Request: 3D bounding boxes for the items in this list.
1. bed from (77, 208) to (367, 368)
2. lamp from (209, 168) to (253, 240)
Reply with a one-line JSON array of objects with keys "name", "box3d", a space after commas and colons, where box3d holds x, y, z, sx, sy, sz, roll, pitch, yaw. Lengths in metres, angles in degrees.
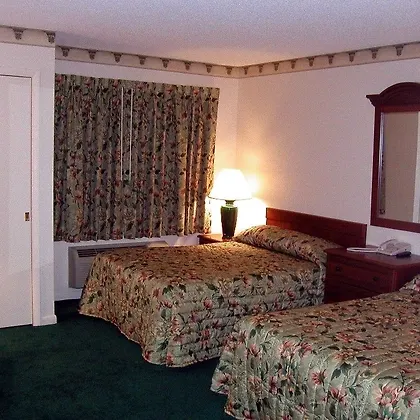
[{"name": "bed", "box3d": [0.219, 0.610, 3.671, 1.873, 0.835, 1.542, -5, 12, -30]}, {"name": "lamp", "box3d": [0.263, -0.076, 5.224, 0.549, 0.955, 0.569, 11, 15, 38]}]
